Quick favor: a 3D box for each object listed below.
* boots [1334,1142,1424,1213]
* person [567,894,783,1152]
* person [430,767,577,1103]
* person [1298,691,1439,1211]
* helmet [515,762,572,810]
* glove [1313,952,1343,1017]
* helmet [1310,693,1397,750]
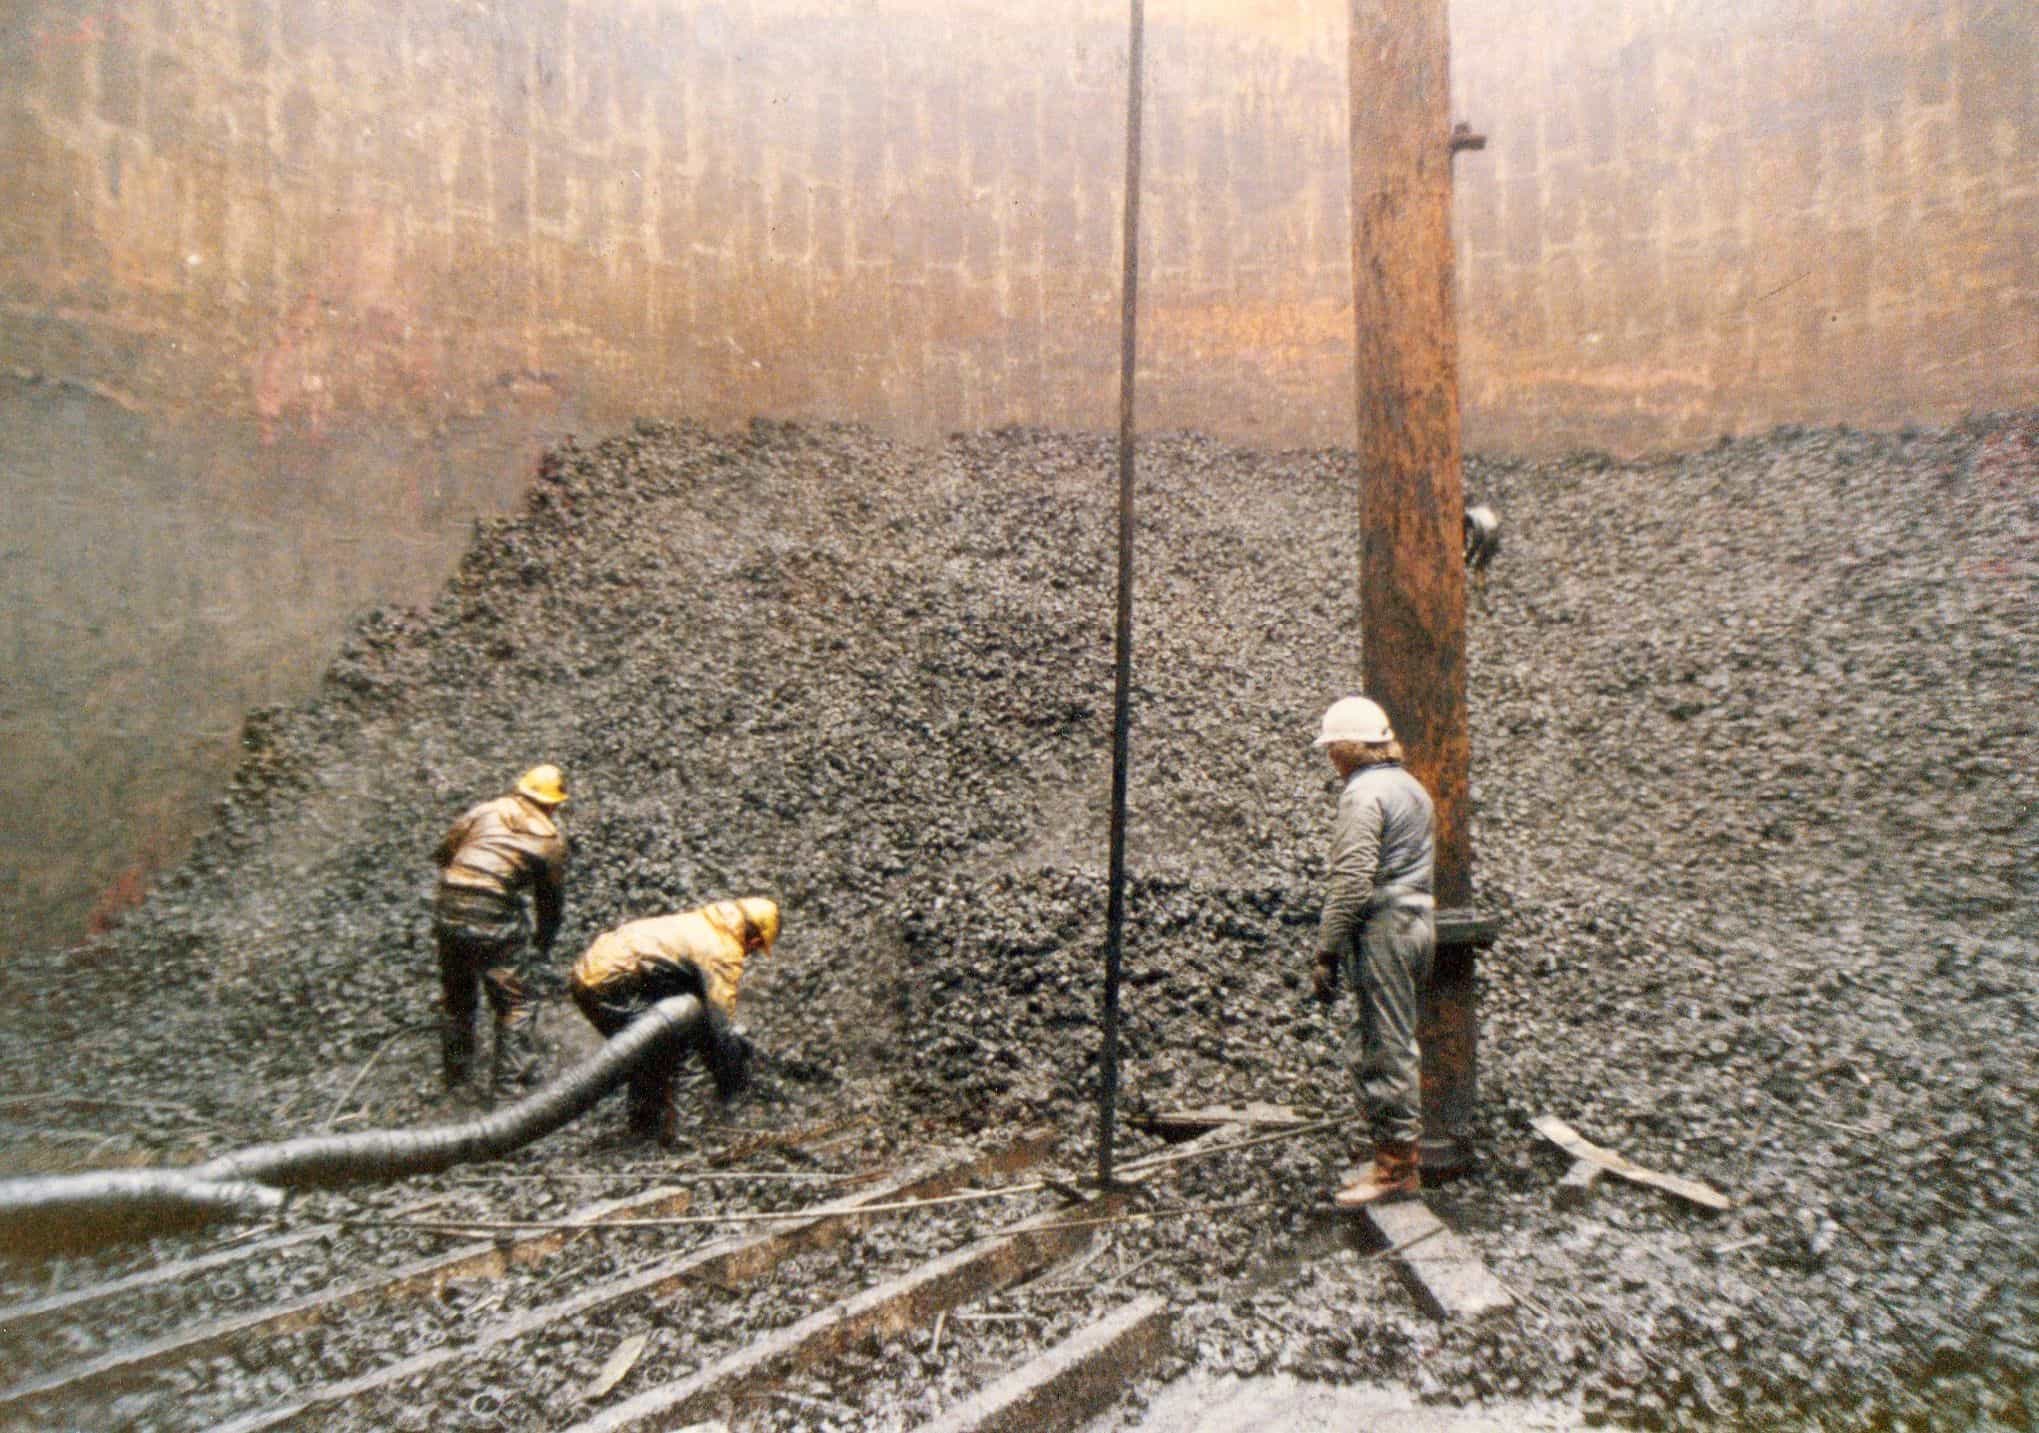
[{"bbox_3d":[2.131,2.825,10.442,0.697,0.513,0.259,0,-1,-1],"label":"boots"},{"bbox_3d":[-2.344,2.057,11.663,1.378,1.713,0.998,1,8,-43],"label":"person"},{"bbox_3d":[-3.618,1.438,11.816,1.014,2.073,0.567,-9,9,-27],"label":"person"},{"bbox_3d":[2.237,1.424,10.504,0.618,3.034,0.878,0,9,30],"label":"person"},{"bbox_3d":[-3.375,0.518,12.090,0.416,0.148,0.424,15,37,-10],"label":"helmet"},{"bbox_3d":[1.956,1.616,10.529,0.148,0.497,0.186,4,-11,-18],"label":"glove"},{"bbox_3d":[2.148,0.018,10.678,0.390,0.239,0.294,3,2,5],"label":"helmet"}]
